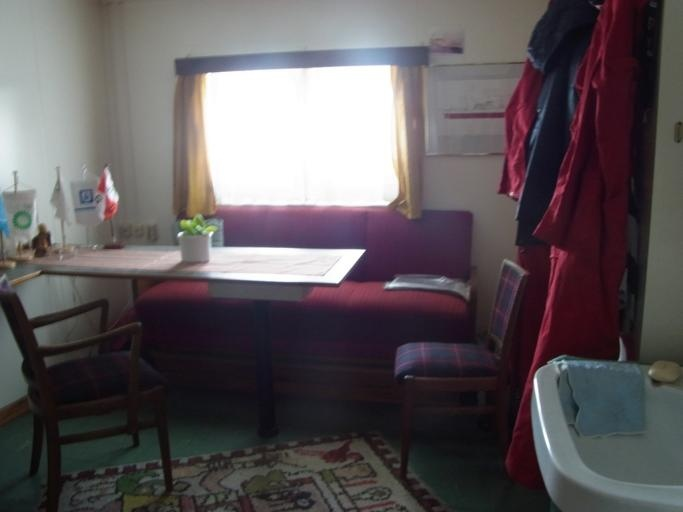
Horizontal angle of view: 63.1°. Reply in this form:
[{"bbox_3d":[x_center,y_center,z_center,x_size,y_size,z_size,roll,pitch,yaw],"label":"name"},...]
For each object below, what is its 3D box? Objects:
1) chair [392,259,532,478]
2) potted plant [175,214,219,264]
[{"bbox_3d":[0.515,0.544,3.152,0.843,1.366,0.789,1,3,1],"label":"chair"},{"bbox_3d":[-0.751,-0.095,2.961,0.216,0.273,0.228,0,4,1],"label":"potted plant"}]
